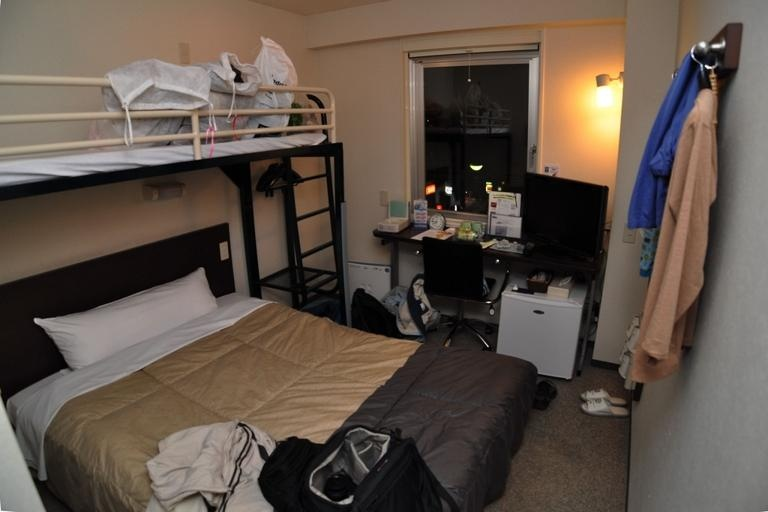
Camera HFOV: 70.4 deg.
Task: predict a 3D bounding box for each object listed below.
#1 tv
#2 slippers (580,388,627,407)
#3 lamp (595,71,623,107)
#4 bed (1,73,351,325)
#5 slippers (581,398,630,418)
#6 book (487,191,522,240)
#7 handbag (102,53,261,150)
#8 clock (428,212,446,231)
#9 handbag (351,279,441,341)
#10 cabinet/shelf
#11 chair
[{"bbox_3d":[1.466,-0.328,4.353,0.141,0.497,0.571,-24,35,-29],"label":"tv"},{"bbox_3d":[1.646,1.058,4.117,0.345,0.125,0.129,3,22,13],"label":"slippers"},{"bbox_3d":[1.778,-1.330,4.317,0.197,0.273,0.195,6,18,18],"label":"lamp"},{"bbox_3d":[-1.538,-0.381,3.923,0.687,1.863,2.011,5,14,31],"label":"bed"},{"bbox_3d":[1.613,1.114,4.041,0.366,0.132,0.132,1,26,7],"label":"slippers"},{"bbox_3d":[1.067,-0.363,4.745,0.377,0.489,0.038,7,18,33],"label":"book"},{"bbox_3d":[-1.262,-1.011,3.522,0.828,0.301,0.653,-14,64,-25],"label":"handbag"},{"bbox_3d":[0.507,-0.326,5.127,0.146,0.149,0.034,16,3,29],"label":"clock"},{"bbox_3d":[0.075,0.493,4.850,0.647,0.303,0.550,10,26,26],"label":"handbag"},{"bbox_3d":[1.354,0.536,4.660,0.705,0.718,0.743,7,12,30],"label":"cabinet/shelf"},{"bbox_3d":[0.715,0.313,4.733,0.717,0.886,0.705,8,23,26],"label":"chair"}]
